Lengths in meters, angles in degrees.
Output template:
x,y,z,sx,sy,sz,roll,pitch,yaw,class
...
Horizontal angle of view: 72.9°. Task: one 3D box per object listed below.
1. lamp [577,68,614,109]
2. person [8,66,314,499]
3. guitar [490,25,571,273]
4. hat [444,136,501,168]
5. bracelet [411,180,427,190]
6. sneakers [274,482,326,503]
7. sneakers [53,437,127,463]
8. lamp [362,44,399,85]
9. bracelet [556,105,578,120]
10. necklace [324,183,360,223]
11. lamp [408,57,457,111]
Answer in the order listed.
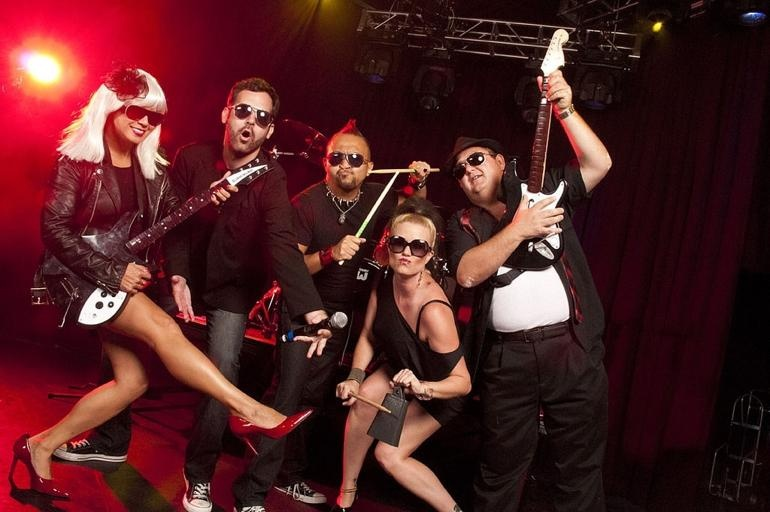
x,y,z,sx,sy,sz,roll,pitch,yaw,class
2.187,-1.759,5.424,0.381,0.387,0.156,8,-3,11,lamp
-1.651,0.201,3.476,1.500,2.940,0.416,11,0,1,person
1.094,-0.705,3.446,0.344,1.630,0.274,11,0,-2,guitar
0.628,-0.820,3.882,0.459,0.183,0.389,-12,1,-9,hat
0.290,-0.633,4.549,0.088,0.048,0.075,1,1,32,bracelet
-0.688,1.843,4.165,0.380,0.147,0.158,-1,-11,24,sneakers
-2.100,1.401,3.767,0.458,0.191,0.171,16,-10,-18,sneakers
-0.076,-2.266,6.040,0.428,0.430,0.132,13,-5,20,lamp
1.162,-0.924,3.353,0.109,0.074,0.103,-23,-9,-9,bracelet
-0.372,-0.446,4.330,0.232,0.333,0.077,4,0,-9,necklace
0.556,-2.040,6.095,0.475,0.630,0.146,13,-2,9,lamp
